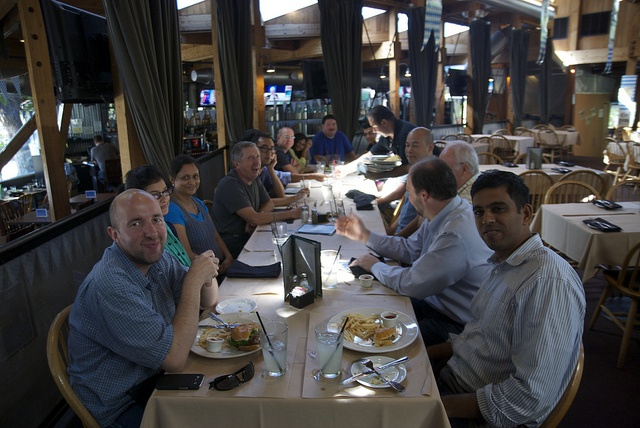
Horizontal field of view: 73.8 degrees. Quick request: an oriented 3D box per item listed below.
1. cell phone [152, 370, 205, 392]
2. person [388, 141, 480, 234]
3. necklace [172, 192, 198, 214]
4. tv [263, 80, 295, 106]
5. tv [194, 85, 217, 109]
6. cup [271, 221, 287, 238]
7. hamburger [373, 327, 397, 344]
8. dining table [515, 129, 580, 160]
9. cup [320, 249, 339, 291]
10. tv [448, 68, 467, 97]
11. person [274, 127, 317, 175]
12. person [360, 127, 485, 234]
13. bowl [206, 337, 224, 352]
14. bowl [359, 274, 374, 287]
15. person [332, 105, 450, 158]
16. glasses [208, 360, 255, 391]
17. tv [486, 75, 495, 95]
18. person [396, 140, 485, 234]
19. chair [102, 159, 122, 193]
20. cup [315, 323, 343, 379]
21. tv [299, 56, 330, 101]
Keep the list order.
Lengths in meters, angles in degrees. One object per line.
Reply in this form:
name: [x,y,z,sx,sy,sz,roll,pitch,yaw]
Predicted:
cell phone: [-0.664,0.796,2.020,0.149,0.021,0.089,1,19,-1]
person: [0.975,-0.332,4.056,0.696,1.117,0.786,0,16,2]
necklace: [-1.130,-0.083,3.538,0.118,0.053,0.218,-9,31,-34]
tv: [-1.131,-3.326,11.892,0.588,0.544,1.308,3,16,26]
tv: [-3.786,-3.905,14.096,0.548,0.746,1.981,-8,15,-14]
cup: [-0.323,0.118,3.344,0.102,0.122,0.117,0,4,0]
hamburger: [0.331,0.628,2.201,0.090,0.031,0.068,-10,24,-5]
dining table: [5.623,-1.536,10.583,1.275,0.616,1.159,-13,3,33]
cup: [0.022,0.376,2.730,0.113,0.191,0.117,-7,5,1]
tv: [4.115,-3.948,12.781,0.495,0.785,1.035,9,20,42]
person: [-0.374,-0.992,6.567,0.631,0.939,0.623,-2,29,-2]
person: [1.073,-0.291,4.606,1.228,1.259,0.575,4,22,-10]
bowl: [-0.535,0.669,2.167,0.066,0.045,0.067,2,1,0]
bowl: [0.290,0.421,2.687,0.070,0.045,0.072,1,1,0]
person: [1.082,-1.311,6.098,1.182,0.800,0.946,-16,20,10]
glasses: [-0.458,0.802,2.119,0.227,0.075,0.238,-12,-2,-39]
tv: [5.951,-4.470,14.864,0.126,0.580,1.795,2,16,22]
person: [0.966,-0.309,4.031,0.697,1.121,0.776,0,17,0]
chair: [-3.781,-0.616,7.891,0.267,0.484,0.296,-9,16,-12]
cup: [0.039,0.666,2.075,0.140,0.150,0.224,-2,52,7]
tv: [-0.045,-2.833,8.891,0.300,0.945,0.928,-3,10,21]
